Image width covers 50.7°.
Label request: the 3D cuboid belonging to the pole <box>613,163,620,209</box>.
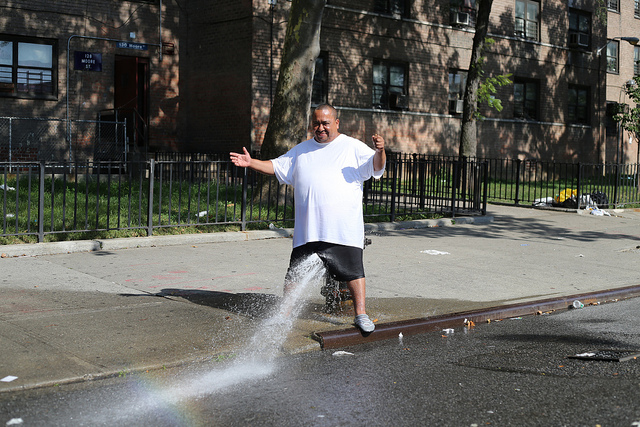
[{"bbox_3d":[8.865,-0.836,20.282,0.163,1.313,0.574,6,11,23],"label":"pole"}]

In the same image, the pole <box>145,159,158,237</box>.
[{"bbox_3d":[-3.215,-0.339,12.787,0.220,1.395,0.725,-1,11,-14],"label":"pole"}]

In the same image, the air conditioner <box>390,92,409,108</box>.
[{"bbox_3d":[3.109,-4.389,26.133,0.927,0.530,0.630,-6,6,-44],"label":"air conditioner"}]

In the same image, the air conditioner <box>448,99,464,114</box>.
[{"bbox_3d":[5.556,-4.411,27.766,0.549,0.802,1.032,5,11,22],"label":"air conditioner"}]

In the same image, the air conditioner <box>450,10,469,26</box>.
[{"bbox_3d":[5.580,-7.917,27.206,0.741,0.567,0.501,2,11,1],"label":"air conditioner"}]

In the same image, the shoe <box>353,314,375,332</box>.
[{"bbox_3d":[0.522,1.289,8.009,0.240,0.191,0.175,2,11,2],"label":"shoe"}]

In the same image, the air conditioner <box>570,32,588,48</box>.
[{"bbox_3d":[12.043,-8.132,31.578,1.008,0.691,0.516,-5,12,-30],"label":"air conditioner"}]
